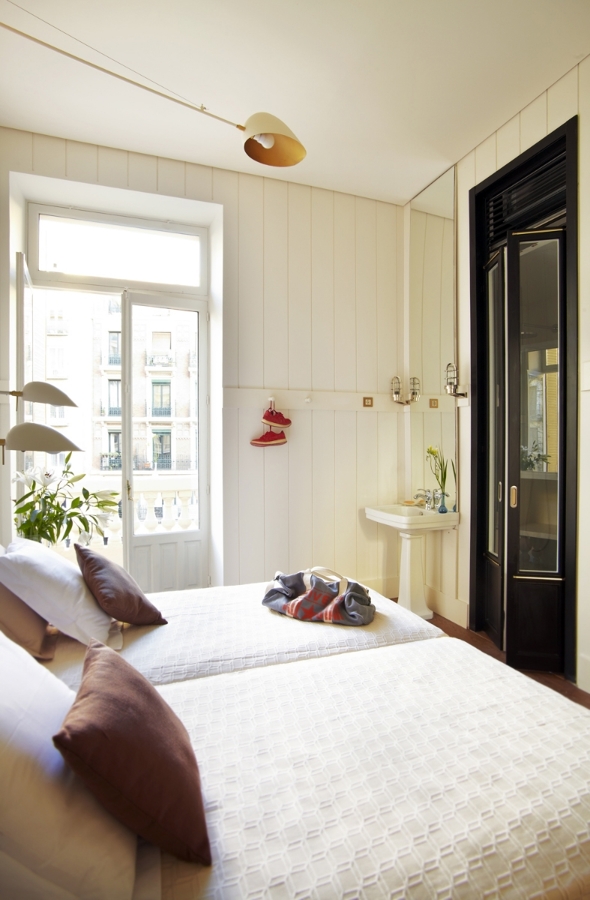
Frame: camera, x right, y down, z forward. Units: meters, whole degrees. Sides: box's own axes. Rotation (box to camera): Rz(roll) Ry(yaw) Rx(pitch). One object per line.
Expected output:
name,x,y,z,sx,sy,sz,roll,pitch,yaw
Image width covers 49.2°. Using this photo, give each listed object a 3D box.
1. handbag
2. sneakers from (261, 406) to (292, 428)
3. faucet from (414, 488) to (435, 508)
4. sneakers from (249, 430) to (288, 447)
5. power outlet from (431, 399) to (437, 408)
handbag,0.088,0.520,2.228,0.249,0.119,0.197,2,-2,29
sneakers,-0.107,-0.186,3.672,0.194,0.109,0.080,17,11,19
faucet,0.797,0.300,3.934,0.057,0.085,0.206,0,-3,3
sneakers,-0.148,-0.059,3.685,0.222,0.114,0.088,-1,-13,-21
power outlet,0.844,-0.285,3.910,0.007,0.059,0.045,-6,10,-39
